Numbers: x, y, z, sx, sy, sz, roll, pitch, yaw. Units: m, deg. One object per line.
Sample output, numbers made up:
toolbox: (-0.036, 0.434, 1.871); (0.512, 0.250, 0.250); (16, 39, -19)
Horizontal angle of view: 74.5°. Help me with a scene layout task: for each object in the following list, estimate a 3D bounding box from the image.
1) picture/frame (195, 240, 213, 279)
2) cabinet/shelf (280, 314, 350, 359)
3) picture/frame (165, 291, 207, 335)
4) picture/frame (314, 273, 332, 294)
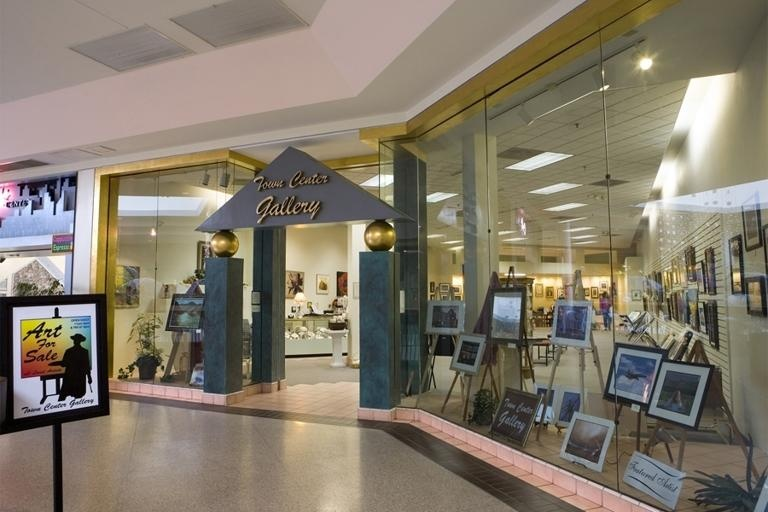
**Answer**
picture/frame: (-3.066, 0.077, 8.762); (0.329, 0.560, 0.055); (3, 13, -24)
cabinet/shelf: (-2.236, 2.391, 15.007); (1.314, 1.061, 1.157); (0, 0, -13)
picture/frame: (-3.371, 0.965, 8.641); (0.775, 0.666, 0.074); (-1, -12, 20)
picture/frame: (-2.111, 0.947, 17.337); (0.036, 0.496, 0.695); (-14, 8, 19)
